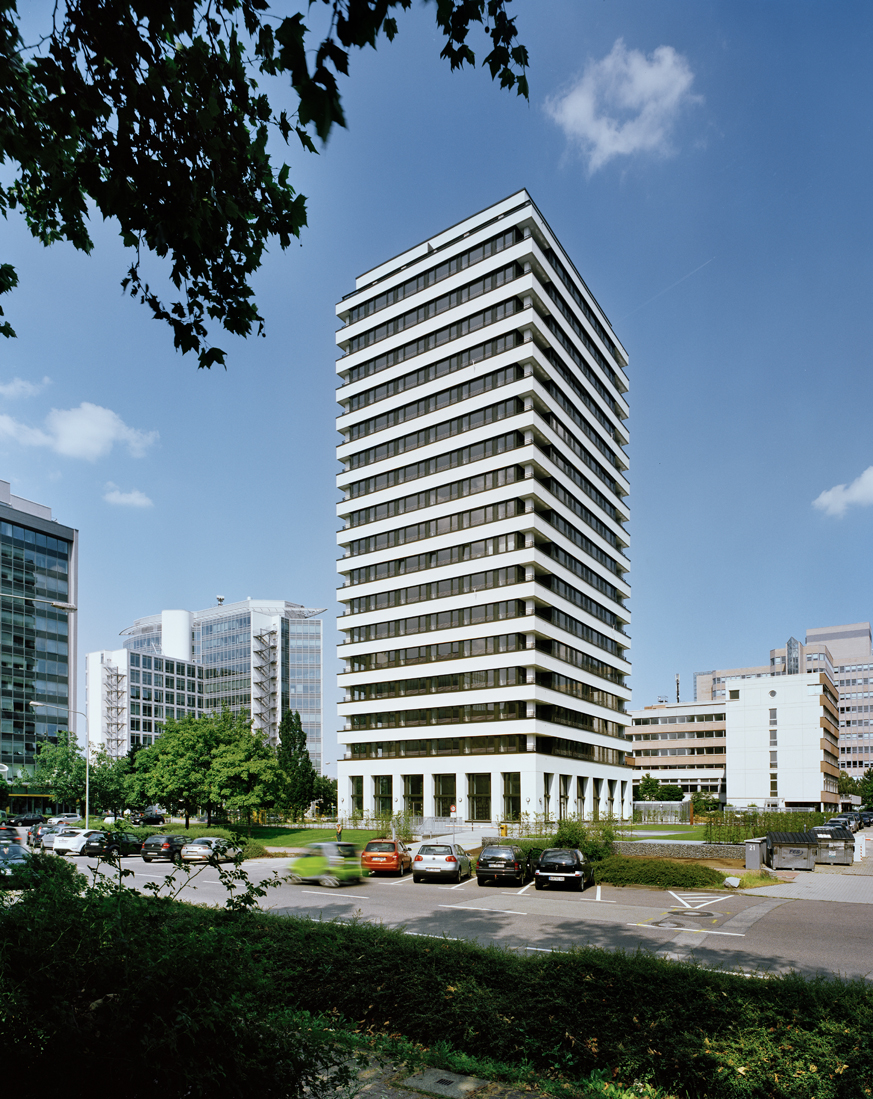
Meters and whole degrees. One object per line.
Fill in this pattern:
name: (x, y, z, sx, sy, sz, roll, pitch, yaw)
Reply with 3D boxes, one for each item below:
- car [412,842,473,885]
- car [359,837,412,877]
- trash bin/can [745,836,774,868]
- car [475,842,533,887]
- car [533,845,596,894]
car: (0.222, 8.872, 31.633, 0.886, 0.728, 1.643, -2, -6, 15)
car: (-1.513, 9.381, 33.815, 1.888, 1.097, 1.226, 11, -13, -27)
trash bin/can: (10.501, 9.829, 35.983, 0.740, 0.908, 4.230, 1, -12, 19)
car: (1.934, 8.710, 30.705, 0.830, 0.641, 1.829, -2, -10, 14)
car: (3.409, 8.356, 29.261, 0.821, 0.697, 1.532, -2, -6, 18)
